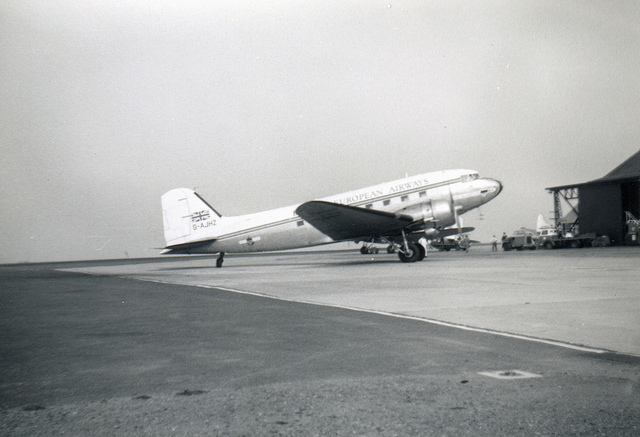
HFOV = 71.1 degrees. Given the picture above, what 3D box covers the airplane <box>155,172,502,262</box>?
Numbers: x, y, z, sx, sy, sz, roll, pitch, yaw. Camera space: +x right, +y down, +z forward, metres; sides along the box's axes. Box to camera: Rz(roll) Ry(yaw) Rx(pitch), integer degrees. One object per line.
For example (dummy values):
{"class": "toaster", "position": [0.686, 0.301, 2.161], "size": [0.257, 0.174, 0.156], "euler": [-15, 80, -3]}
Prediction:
{"class": "airplane", "position": [0.089, 0.012, 23.858], "size": [17.777, 4.495, 6.430], "euler": [-1, 1, 22]}
